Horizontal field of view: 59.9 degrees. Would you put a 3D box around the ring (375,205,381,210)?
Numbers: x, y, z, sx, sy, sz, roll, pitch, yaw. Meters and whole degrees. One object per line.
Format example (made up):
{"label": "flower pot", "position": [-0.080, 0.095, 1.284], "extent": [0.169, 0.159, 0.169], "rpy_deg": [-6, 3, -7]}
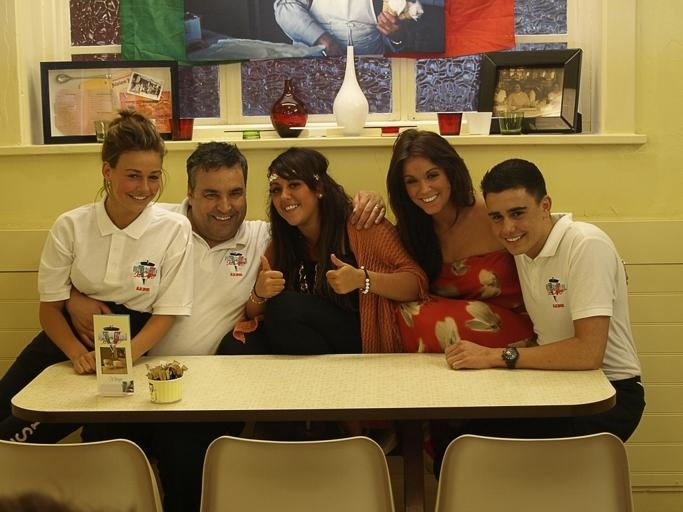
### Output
{"label": "ring", "position": [0.153, -0.210, 2.582], "extent": [0.020, 0.006, 0.021], "rpy_deg": [10, 21, -4]}

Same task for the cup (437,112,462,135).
{"label": "cup", "position": [0.544, -0.680, 3.033], "extent": [0.114, 0.087, 0.116], "rpy_deg": [0, 3, 0]}

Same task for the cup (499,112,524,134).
{"label": "cup", "position": [0.848, -0.675, 3.003], "extent": [0.112, 0.085, 0.104], "rpy_deg": [0, 4, 0]}

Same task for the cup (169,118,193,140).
{"label": "cup", "position": [-0.840, -0.660, 3.093], "extent": [0.114, 0.089, 0.102], "rpy_deg": [-3, 6, -7]}

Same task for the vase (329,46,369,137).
{"label": "vase", "position": [0.037, -0.872, 3.120], "extent": [0.173, 0.466, 0.224], "rpy_deg": [-1, 11, 1]}

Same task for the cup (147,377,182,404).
{"label": "cup", "position": [-0.565, 0.430, 1.885], "extent": [0.085, 0.061, 0.087], "rpy_deg": [1, -2, 0]}

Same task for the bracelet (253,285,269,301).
{"label": "bracelet", "position": [-0.350, 0.167, 2.517], "extent": [0.057, 0.083, 0.072], "rpy_deg": [-6, 12, -22]}

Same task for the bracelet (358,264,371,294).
{"label": "bracelet", "position": [0.093, 0.108, 2.441], "extent": [0.028, 0.088, 0.062], "rpy_deg": [-6, 3, -3]}

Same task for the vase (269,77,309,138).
{"label": "vase", "position": [-0.285, -0.781, 3.123], "extent": [0.178, 0.307, 0.166], "rpy_deg": [0, 11, 4]}

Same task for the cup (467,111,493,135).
{"label": "cup", "position": [0.689, -0.670, 3.028], "extent": [0.117, 0.103, 0.130], "rpy_deg": [-1, 8, -3]}

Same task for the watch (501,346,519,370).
{"label": "watch", "position": [0.587, 0.353, 2.083], "extent": [0.049, 0.071, 0.077], "rpy_deg": [5, 46, 10]}

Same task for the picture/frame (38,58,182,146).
{"label": "picture/frame", "position": [-1.199, -0.792, 3.056], "extent": [0.607, 0.390, 0.039], "rpy_deg": [-1, 2, -2]}

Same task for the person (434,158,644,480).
{"label": "person", "position": [0.939, 0.311, 3.014], "extent": [1.097, 1.864, 0.875], "rpy_deg": [1, -9, -4]}
